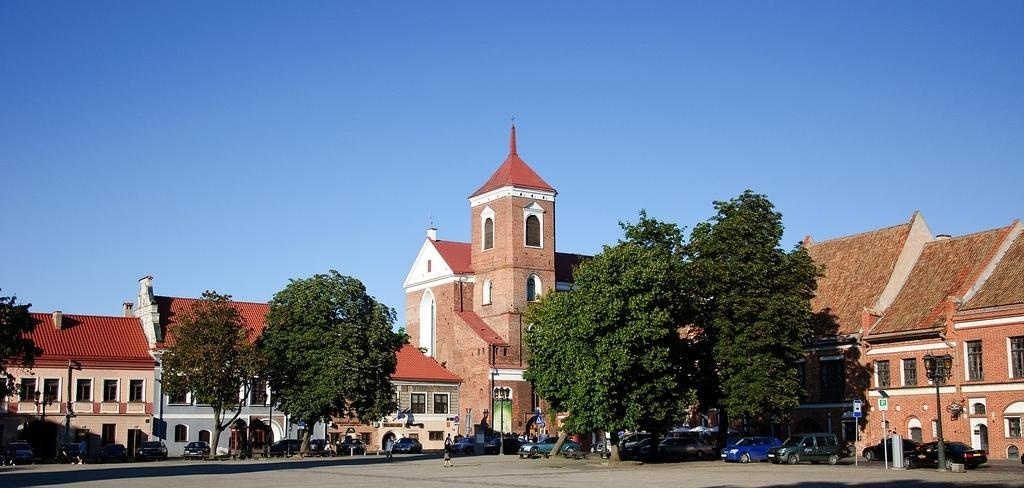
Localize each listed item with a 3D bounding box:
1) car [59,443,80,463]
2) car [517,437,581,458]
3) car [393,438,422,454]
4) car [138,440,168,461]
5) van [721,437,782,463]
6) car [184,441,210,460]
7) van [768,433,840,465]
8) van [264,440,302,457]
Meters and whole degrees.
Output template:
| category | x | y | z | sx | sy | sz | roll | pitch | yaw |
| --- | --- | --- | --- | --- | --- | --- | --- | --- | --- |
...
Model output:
| category | x | y | z | sx | sy | sz | roll | pitch | yaw |
| --- | --- | --- | --- | --- | --- | --- | --- | --- | --- |
| car | -48.825 | 23.185 | 120.680 | 1.918 | 2.096 | 4.102 | 6 | -15 | -21 |
| car | 4.329 | 23.112 | 123.399 | 6.615 | 1.644 | 2.435 | 3 | -10 | -2 |
| car | -13.216 | 25.312 | 136.203 | 1.734 | 1.787 | 4.683 | -11 | -17 | 36 |
| car | -41.053 | 23.678 | 124.784 | 2.294 | 2.251 | 2.804 | -3 | -15 | 11 |
| van | 25.045 | 21.306 | 112.593 | 5.158 | 1.719 | 2.624 | 4 | -9 | -14 |
| car | -36.162 | 23.764 | 125.490 | 2.879 | 1.895 | 1.855 | 1 | -15 | -2 |
| van | 29.345 | 20.799 | 110.517 | 6.113 | 2.264 | 3.245 | 3 | -10 | -7 |
| van | -26.805 | 24.162 | 129.390 | 3.271 | 1.314 | 1.587 | 6 | -12 | -9 |
